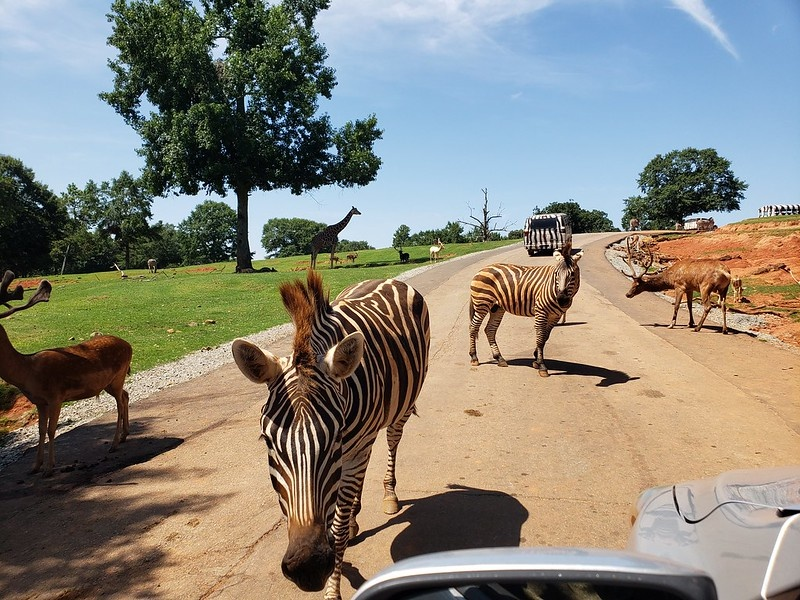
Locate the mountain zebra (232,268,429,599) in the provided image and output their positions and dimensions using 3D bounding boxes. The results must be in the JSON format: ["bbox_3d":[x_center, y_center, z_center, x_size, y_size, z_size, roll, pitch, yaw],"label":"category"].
[{"bbox_3d":[-0.683,1.525,5.420,1.571,3.555,2.386,4,9,5],"label":"mountain zebra"}]

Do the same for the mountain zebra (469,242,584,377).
[{"bbox_3d":[2.888,0.262,11.458,1.265,2.631,3.353,-2,3,-32],"label":"mountain zebra"}]
